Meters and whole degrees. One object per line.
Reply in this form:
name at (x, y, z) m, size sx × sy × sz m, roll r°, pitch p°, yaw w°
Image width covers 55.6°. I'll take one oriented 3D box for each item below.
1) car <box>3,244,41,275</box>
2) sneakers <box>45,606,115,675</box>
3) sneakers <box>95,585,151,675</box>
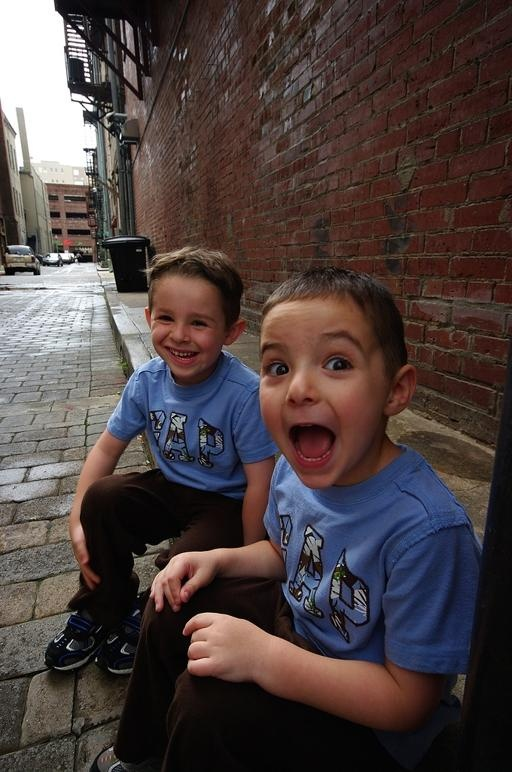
car at (-13.715, -7.436, 28.608) m, size 1.356 × 1.253 × 2.832 m, roll -4°, pitch 14°, yaw -13°
sneakers at (-0.500, 0.708, 1.401) m, size 0.096 × 0.108 × 0.266 m, roll 2°, pitch -4°, yaw 17°
sneakers at (-0.359, 0.712, 1.413) m, size 0.103 × 0.129 × 0.314 m, roll 22°, pitch -8°, yaw 10°
